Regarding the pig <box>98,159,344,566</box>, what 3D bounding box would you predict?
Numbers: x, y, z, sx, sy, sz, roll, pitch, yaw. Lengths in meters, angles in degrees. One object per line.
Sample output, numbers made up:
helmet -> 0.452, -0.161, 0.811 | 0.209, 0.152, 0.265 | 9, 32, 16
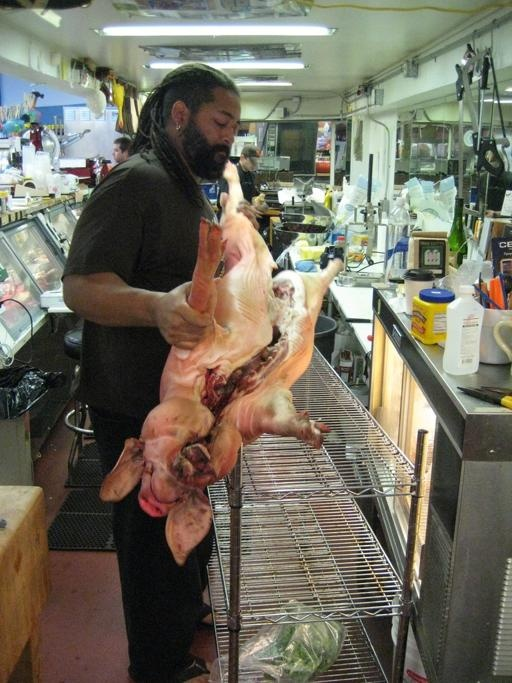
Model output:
pig -> -0.013, 0.012, 0.731 | 0.296, 0.534, 0.187 | 14, -13, 8

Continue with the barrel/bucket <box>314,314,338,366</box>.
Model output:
barrel/bucket -> 0.356, 0.003, 3.011 | 0.245, 0.184, 0.245 | -1, 29, 0

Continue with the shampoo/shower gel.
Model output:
shampoo/shower gel -> 0.416, -0.021, 1.097 | 0.081, 0.172, 0.104 | 1, 13, 3

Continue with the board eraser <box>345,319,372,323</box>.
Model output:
board eraser -> 0.510, -0.099, 2.602 | 0.124, 0.023, 0.043 | 1, 13, -2

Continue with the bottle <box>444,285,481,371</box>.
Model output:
bottle -> 0.462, -0.023, 1.114 | 0.117, 0.186, 0.065 | -4, 14, -23

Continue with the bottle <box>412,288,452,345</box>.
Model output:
bottle -> 0.441, -0.064, 1.339 | 0.102, 0.127, 0.142 | 0, 17, -9
